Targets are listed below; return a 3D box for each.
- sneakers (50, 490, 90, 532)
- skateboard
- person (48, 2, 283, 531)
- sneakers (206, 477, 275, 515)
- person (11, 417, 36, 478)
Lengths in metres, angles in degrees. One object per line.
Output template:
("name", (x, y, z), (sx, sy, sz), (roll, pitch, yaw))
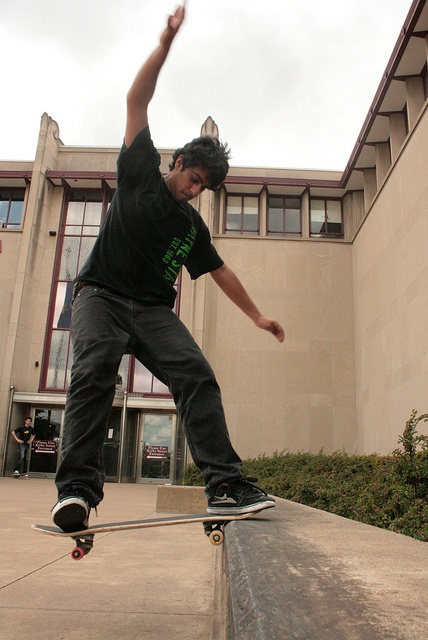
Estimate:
("sneakers", (-0.528, 0.710, 1.669), (0.122, 0.130, 0.165), (4, -17, -8))
("skateboard", (-0.245, 0.813, 1.741), (0.839, 0.150, 0.440), (0, -18, 4))
("person", (-0.221, -0.038, 2.172), (0.907, 1.882, 0.894), (9, -18, -25))
("sneakers", (0.098, 0.758, 1.972), (0.317, 0.182, 0.124), (-3, -27, -1))
("person", (-6.669, 4.360, 15.810), (0.649, 2.073, 1.584), (7, -18, -20))
